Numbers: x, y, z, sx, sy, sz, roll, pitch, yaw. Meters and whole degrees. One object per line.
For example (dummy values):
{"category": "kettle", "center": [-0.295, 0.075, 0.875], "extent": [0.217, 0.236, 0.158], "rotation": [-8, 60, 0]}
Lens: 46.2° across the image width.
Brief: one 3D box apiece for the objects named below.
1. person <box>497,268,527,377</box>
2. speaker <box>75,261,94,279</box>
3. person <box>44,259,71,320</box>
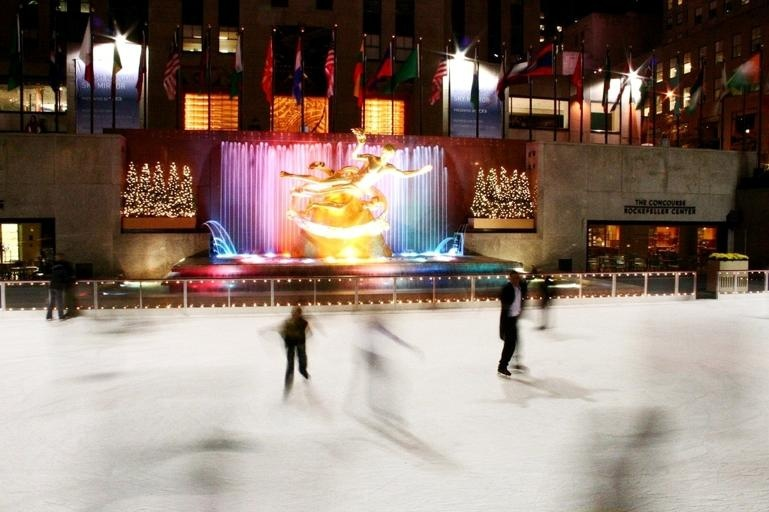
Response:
{"category": "person", "center": [4.443, 2.302, 31.207], "extent": [0.901, 3.600, 1.240], "rotation": [1, 4, 9]}
{"category": "speaker", "center": [-15.368, 0.750, 46.011], "extent": [0.874, 0.835, 0.819], "rotation": [0, -5, -7]}
{"category": "person", "center": [-13.363, 1.283, 36.593], "extent": [1.028, 2.614, 0.644], "rotation": [2, 5, 30]}
